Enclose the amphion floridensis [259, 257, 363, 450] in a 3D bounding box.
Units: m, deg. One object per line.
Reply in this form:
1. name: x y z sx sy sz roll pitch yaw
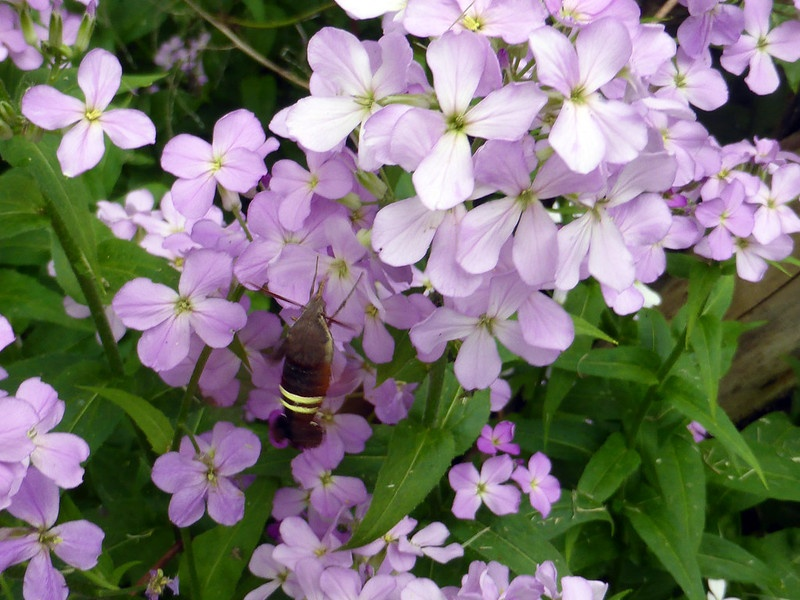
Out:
1. amphion floridensis: -0.200 0.155 1.947 0.197 0.101 0.448 12 -68 11
